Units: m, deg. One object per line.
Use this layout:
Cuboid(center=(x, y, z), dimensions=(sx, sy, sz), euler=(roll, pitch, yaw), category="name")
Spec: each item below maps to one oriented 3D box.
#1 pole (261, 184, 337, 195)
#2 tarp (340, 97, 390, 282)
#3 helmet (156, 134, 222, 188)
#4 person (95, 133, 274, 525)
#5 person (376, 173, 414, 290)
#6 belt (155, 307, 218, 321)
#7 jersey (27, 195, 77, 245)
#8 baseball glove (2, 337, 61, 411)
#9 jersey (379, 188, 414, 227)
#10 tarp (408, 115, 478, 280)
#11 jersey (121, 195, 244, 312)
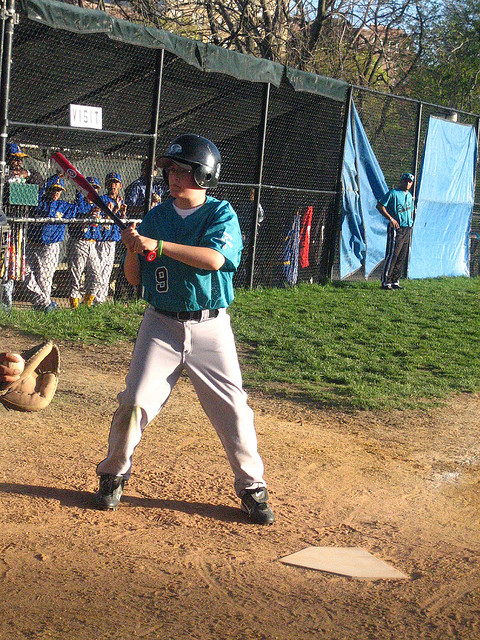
Cuboid(center=(0.788, -1.792, 9.868), dimensions=(0.316, 0.063, 1.832), euler=(11, 12, 32), category="pole")
Cuboid(center=(1.866, -1.841, 10.872), dimensions=(0.624, 2.955, 0.554), euler=(4, 22, 13), category="tarp")
Cuboid(center=(-0.225, -0.713, 3.193), dimensions=(0.273, 0.229, 0.198), euler=(4, 11, -7), category="helmet")
Cuboid(center=(-0.208, 0.045, 3.286), dimensions=(0.783, 1.731, 0.428), euler=(4, 12, -10), category="person")
Cuboid(center=(2.435, -1.384, 11.043), dimensions=(0.439, 1.753, 0.841), euler=(14, 14, 35), category="person")
Cuboid(center=(-0.243, -0.029, 3.217), dimensions=(0.279, 0.054, 0.081), euler=(5, 11, -1), category="belt")
Cuboid(center=(-2.039, -1.019, 7.697), dimensions=(0.421, 0.554, 0.429), euler=(2, 20, -26), category="jersey")
Cuboid(center=(-0.781, 0.218, 2.770), dimensions=(0.154, 0.274, 0.203), euler=(27, 29, 1), category="baseball glove")
Cuboid(center=(2.370, -1.725, 10.968), dimensions=(0.350, 0.528, 0.688), euler=(4, -2, 43), category="jersey")
Cuboid(center=(3.561, -2.234, 12.743), dimensions=(0.390, 3.428, 3.503), euler=(8, 6, 36), category="tarp")
Cuboid(center=(-0.252, -0.296, 3.231), dimensions=(0.482, 0.500, 0.255), euler=(8, 11, 12), category="jersey")
